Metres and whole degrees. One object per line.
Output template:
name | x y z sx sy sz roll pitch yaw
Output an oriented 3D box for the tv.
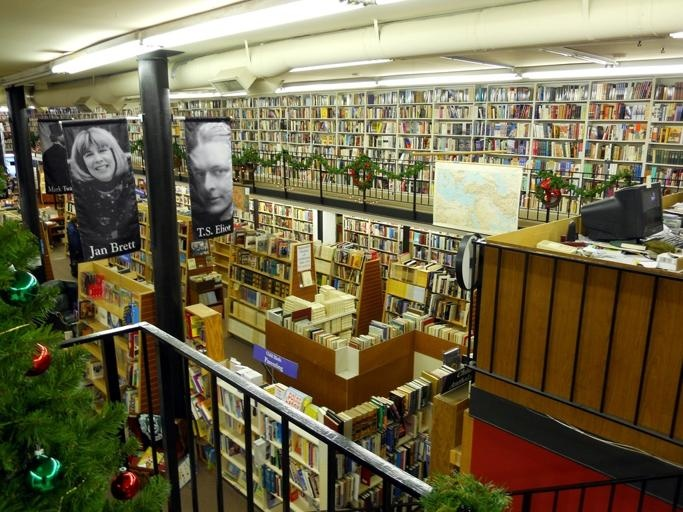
tv | 3.008 -0.462 5.526 0.706 0.618 0.675 -12 14 -43
